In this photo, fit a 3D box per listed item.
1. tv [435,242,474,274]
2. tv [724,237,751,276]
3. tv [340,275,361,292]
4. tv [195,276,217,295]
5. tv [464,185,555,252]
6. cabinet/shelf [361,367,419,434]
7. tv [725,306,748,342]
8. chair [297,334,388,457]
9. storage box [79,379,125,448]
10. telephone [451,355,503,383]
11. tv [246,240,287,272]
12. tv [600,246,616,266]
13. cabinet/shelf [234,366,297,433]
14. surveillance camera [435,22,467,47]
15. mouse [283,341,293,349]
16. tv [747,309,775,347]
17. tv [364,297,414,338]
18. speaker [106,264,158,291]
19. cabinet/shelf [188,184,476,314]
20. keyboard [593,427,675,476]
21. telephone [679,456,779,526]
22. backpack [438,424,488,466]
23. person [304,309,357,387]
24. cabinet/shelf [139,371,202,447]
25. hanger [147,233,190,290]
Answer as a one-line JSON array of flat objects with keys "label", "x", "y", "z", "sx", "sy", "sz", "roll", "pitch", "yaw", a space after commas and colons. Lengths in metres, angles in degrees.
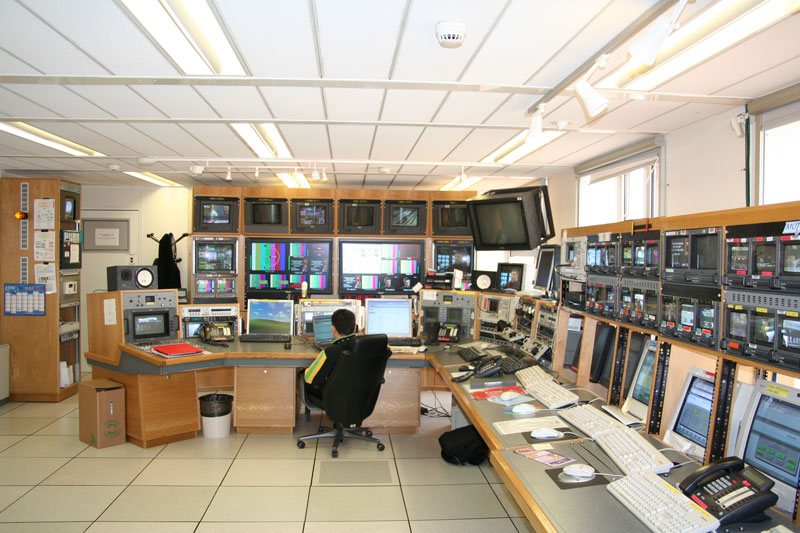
[{"label": "tv", "x": 0.805, "y": -0.148, "z": 8.066, "sx": 0.966, "sy": 0.530, "sz": 0.456, "roll": 1, "pitch": 1, "yaw": 2}, {"label": "tv", "x": 2.077, "y": -0.059, "z": 3.103, "sx": 0.045, "sy": 0.230, "sz": 0.159, "roll": -5, "pitch": 14, "yaw": -25}, {"label": "tv", "x": -0.796, "y": 0.247, "z": 7.851, "sx": 0.287, "sy": 0.249, "sz": 0.149, "roll": 6, "pitch": 5, "yaw": -6}, {"label": "tv", "x": -2.973, "y": 0.281, "z": 7.653, "sx": 0.374, "sy": 0.273, "sz": 0.082, "roll": 1, "pitch": 1, "yaw": -9}, {"label": "tv", "x": 1.163, "y": -0.499, "z": 5.425, "sx": 0.597, "sy": 0.747, "sz": 1.175, "roll": -21, "pitch": 14, "yaw": -34}, {"label": "cabinet/shelf", "x": -0.132, "y": 1.482, "z": 5.742, "sx": 0.826, "sy": 0.595, "sz": 0.707, "roll": 0, "pitch": -5, "yaw": -3}, {"label": "tv", "x": 2.065, "y": 0.353, "z": 3.098, "sx": 0.046, "sy": 0.179, "sz": 0.136, "roll": -6, "pitch": 14, "yaw": -27}, {"label": "chair", "x": -0.550, "y": 1.268, "z": 5.067, "sx": 0.936, "sy": 1.042, "sz": 0.859, "roll": 1, "pitch": -9, "yaw": 9}, {"label": "storage box", "x": -3.160, "y": 1.563, "z": 5.341, "sx": 0.493, "sy": 0.539, "sz": 0.458, "roll": 0, "pitch": -8, "yaw": -27}, {"label": "telephone", "x": 0.699, "y": 0.931, "z": 4.607, "sx": 0.344, "sy": 0.119, "sz": 0.220, "roll": -3, "pitch": 5, "yaw": -12}, {"label": "tv", "x": -2.088, "y": -0.161, "z": 7.752, "sx": 0.601, "sy": 0.409, "sz": 0.185, "roll": -1, "pitch": 2, "yaw": -5}, {"label": "tv", "x": 1.653, "y": -0.086, "z": 4.011, "sx": 0.114, "sy": 0.160, "sz": 0.186, "roll": 1, "pitch": 0, "yaw": -12}, {"label": "cabinet/shelf", "x": -1.451, "y": 1.446, "z": 5.717, "sx": 0.795, "sy": 0.612, "sz": 0.717, "roll": 2, "pitch": 2, "yaw": -2}, {"label": "surveillance camera", "x": 0.346, "y": -1.611, "z": 3.562, "sx": 0.168, "sy": 0.089, "sz": 0.171, "roll": 7, "pitch": 11, "yaw": 31}, {"label": "mouse", "x": -1.234, "y": 0.859, "z": 5.496, "sx": 0.075, "sy": 0.038, "sz": 0.066, "roll": 0, "pitch": 10, "yaw": -3}, {"label": "tv", "x": 2.147, "y": 0.367, "z": 2.991, "sx": 0.145, "sy": 0.190, "sz": 0.067, "roll": 11, "pitch": 16, "yaw": 38}, {"label": "tv", "x": -0.141, "y": 0.592, "z": 5.741, "sx": 0.560, "sy": 0.347, "sz": 0.069, "roll": 1, "pitch": -2, "yaw": 1}, {"label": "speaker", "x": -3.009, "y": 0.120, "z": 5.655, "sx": 0.516, "sy": 0.285, "sz": 0.327, "roll": 1, "pitch": -1, "yaw": -43}, {"label": "cabinet/shelf", "x": -1.041, "y": -0.299, "z": 8.141, "sx": 4.437, "sy": 1.598, "sz": 0.452, "roll": 0, "pitch": 18, "yaw": -6}, {"label": "keyboard", "x": 1.450, "y": 1.173, "z": 3.257, "sx": 0.356, "sy": 0.077, "sz": 0.490, "roll": -9, "pitch": 20, "yaw": -13}, {"label": "telephone", "x": 1.820, "y": 1.238, "z": 2.797, "sx": 0.489, "sy": 0.221, "sz": 0.311, "roll": -6, "pitch": 14, "yaw": -12}, {"label": "backpack", "x": 0.627, "y": 1.759, "z": 4.991, "sx": 0.493, "sy": 0.164, "sz": 0.438, "roll": -17, "pitch": 23, "yaw": 1}, {"label": "person", "x": -0.699, "y": 0.843, "z": 4.986, "sx": 0.488, "sy": 0.787, "sz": 0.472, "roll": -1, "pitch": 12, "yaw": -8}, {"label": "cabinet/shelf", "x": -2.451, "y": 1.474, "z": 5.336, "sx": 0.558, "sy": 0.732, "sz": 0.261, "roll": -4, "pitch": 14, "yaw": -23}, {"label": "hanger", "x": -4.046, "y": -0.107, "z": 8.843, "sx": 0.599, "sy": 0.917, "sz": 0.802, "roll": -4, "pitch": 13, "yaw": -21}]
